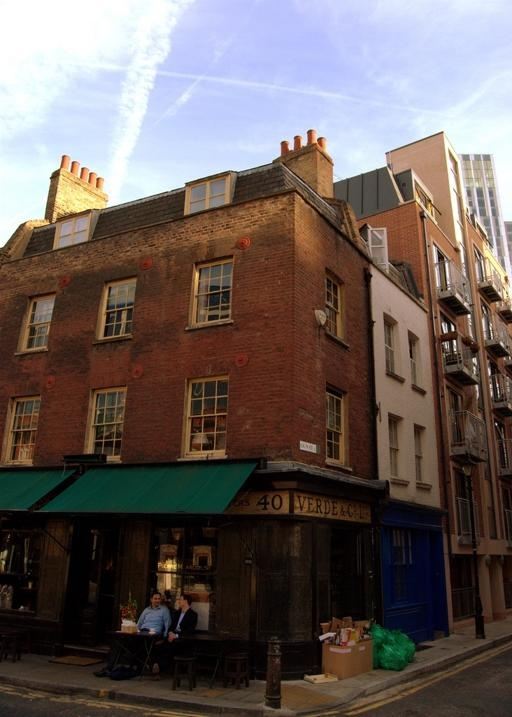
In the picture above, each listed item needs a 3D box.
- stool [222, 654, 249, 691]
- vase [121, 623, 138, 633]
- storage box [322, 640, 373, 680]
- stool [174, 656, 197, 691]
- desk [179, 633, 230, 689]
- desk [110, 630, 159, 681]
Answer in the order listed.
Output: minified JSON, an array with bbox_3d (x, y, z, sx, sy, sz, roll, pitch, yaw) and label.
[{"bbox_3d":[-0.319,4.898,8.675,0.463,0.612,0.460,-16,-39,21],"label":"stool"},{"bbox_3d":[-2.188,4.565,9.444,0.312,0.158,0.139,-6,-22,16],"label":"vase"},{"bbox_3d":[1.528,5.503,9.999,0.677,0.715,1.236,-25,-34,38],"label":"storage box"},{"bbox_3d":[-1.115,4.841,8.617,0.352,0.485,1.021,3,-21,-6],"label":"stool"},{"bbox_3d":[-0.863,4.971,9.145,0.895,0.790,0.679,-7,-15,26],"label":"desk"},{"bbox_3d":[-2.114,5.030,9.536,0.778,0.822,1.175,0,-42,3],"label":"desk"}]
